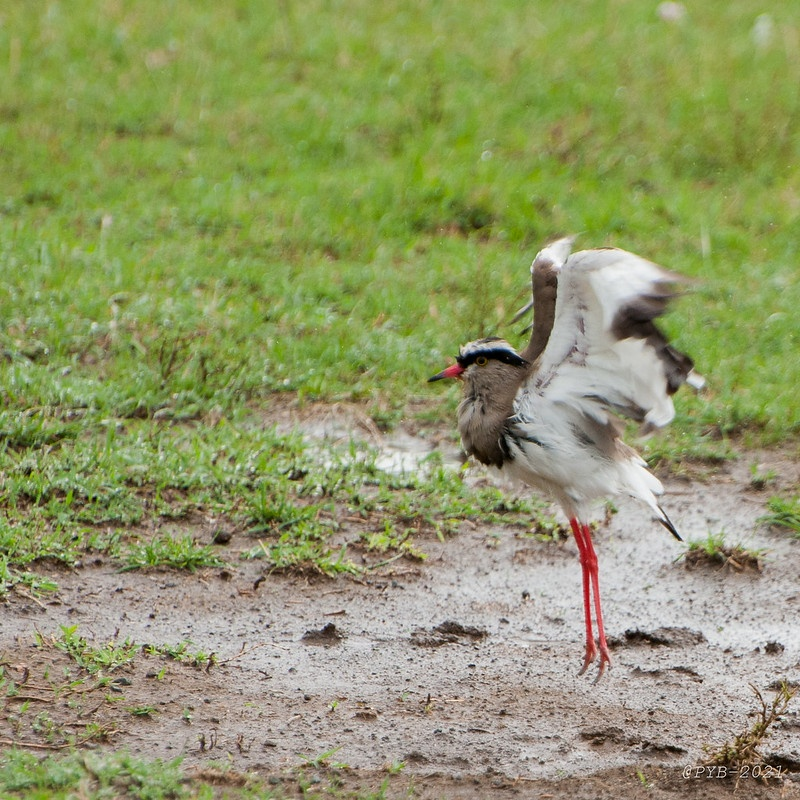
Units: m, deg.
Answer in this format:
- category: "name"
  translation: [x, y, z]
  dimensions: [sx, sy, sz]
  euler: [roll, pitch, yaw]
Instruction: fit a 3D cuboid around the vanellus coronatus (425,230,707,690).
- category: "vanellus coronatus"
  translation: [0.915, 0.201, 6.274]
  dimensions: [0.821, 2.141, 1.594]
  euler: [-2, 19, -21]
